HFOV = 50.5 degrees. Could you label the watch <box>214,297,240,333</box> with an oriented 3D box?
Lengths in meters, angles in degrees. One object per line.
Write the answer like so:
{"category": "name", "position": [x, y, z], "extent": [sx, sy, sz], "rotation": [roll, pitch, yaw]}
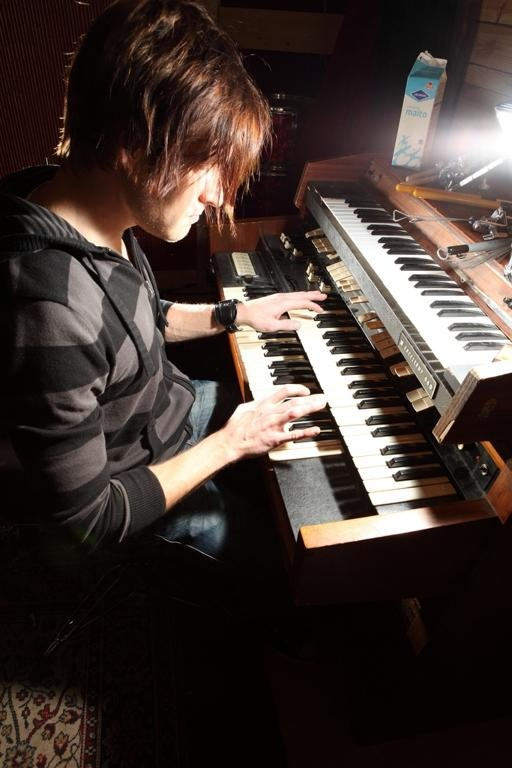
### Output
{"category": "watch", "position": [-0.088, -0.208, 1.713], "extent": [0.068, 0.097, 0.111], "rotation": [9, 61, -8]}
